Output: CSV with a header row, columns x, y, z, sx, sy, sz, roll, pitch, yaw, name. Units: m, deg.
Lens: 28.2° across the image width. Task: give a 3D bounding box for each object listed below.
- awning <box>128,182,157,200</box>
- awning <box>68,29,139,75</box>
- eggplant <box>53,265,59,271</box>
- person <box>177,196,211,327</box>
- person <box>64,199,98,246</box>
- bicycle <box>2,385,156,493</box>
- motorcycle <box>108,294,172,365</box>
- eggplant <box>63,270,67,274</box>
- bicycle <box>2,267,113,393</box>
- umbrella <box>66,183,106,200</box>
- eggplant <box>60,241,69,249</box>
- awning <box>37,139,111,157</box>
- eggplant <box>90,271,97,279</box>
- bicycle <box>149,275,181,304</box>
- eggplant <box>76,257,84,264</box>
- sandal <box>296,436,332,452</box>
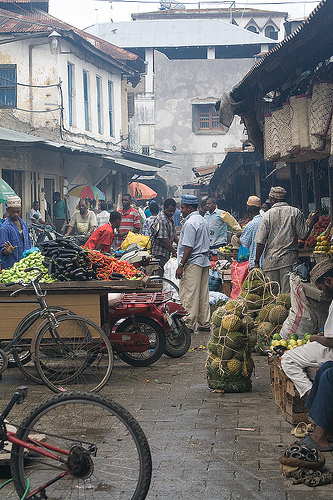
x,y,z,sx,sy,sz,roll,pitch,yaw,name
-1.203,-2.824,32.052,1.097,0.821,2.016,1,5,16,awning
-2.197,-6.910,23.280,3.032,0.413,0.512,27,12,-33,awning
-1.047,0.182,6.251,0.063,0.032,0.059,-3,13,-7,eggplant
0.350,0.189,8.887,0.392,1.786,0.629,-1,6,5,person
-1.851,-0.392,14.226,0.680,1.292,0.757,0,27,-8,person
-0.458,0.986,3.489,0.734,0.618,0.726,-1,5,-3,bicycle
-0.290,0.830,6.899,0.877,0.525,0.486,-1,-1,2,motorcycle
-0.951,0.207,6.182,0.027,0.025,0.007,-12,-23,-5,eggplant
-0.958,0.712,5.976,0.931,1.149,1.119,-2,5,-5,bicycle
-2.301,-1.619,19.011,0.875,0.339,0.847,5,-2,-33,umbrella
-0.964,-0.047,6.346,0.041,0.097,0.029,-6,-32,-20,eggplant
-2.406,-2.604,16.915,0.745,0.214,3.909,-1,5,4,awning
-0.704,0.245,6.328,0.083,0.086,0.153,-1,-3,-1,eggplant
-0.024,0.545,9.473,0.398,0.436,0.979,-1,5,0,bicycle
-0.810,0.104,6.221,0.058,0.021,0.057,-3,44,-50,eggplant
0.923,1.222,4.176,0.240,0.071,0.082,7,-7,0,sandal
